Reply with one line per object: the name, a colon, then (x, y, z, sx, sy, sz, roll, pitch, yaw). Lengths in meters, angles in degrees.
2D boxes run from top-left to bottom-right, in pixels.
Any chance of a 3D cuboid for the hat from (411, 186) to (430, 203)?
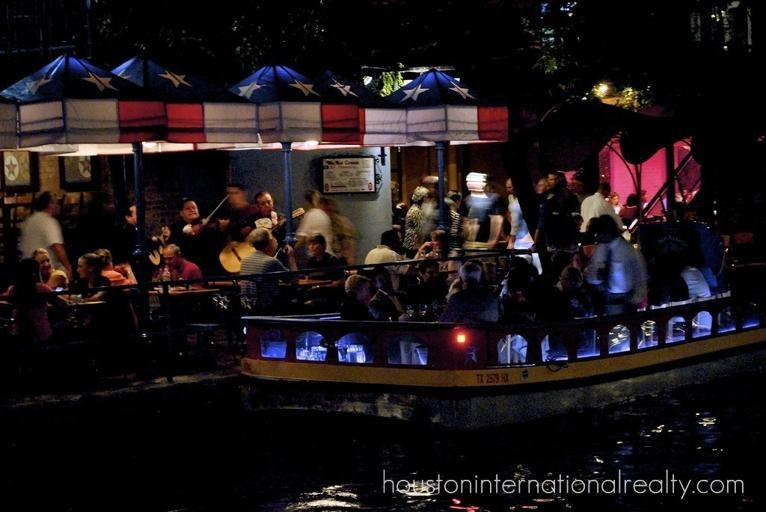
hat: (0.641, -1.050, 24.226, 0.242, 0.298, 0.298, 1, 23, -20)
